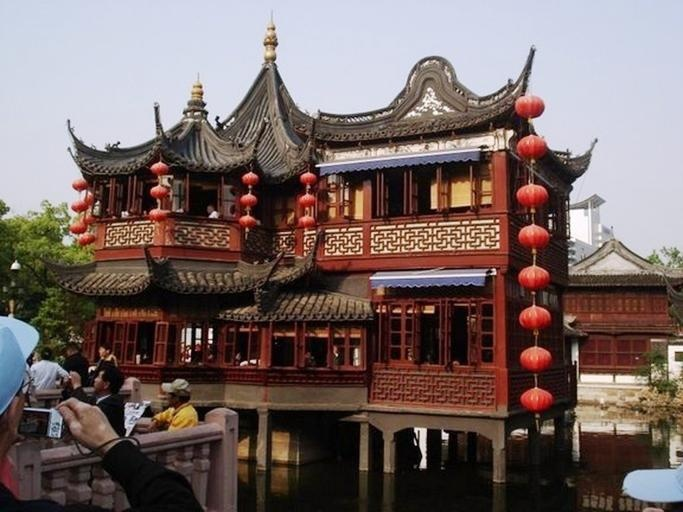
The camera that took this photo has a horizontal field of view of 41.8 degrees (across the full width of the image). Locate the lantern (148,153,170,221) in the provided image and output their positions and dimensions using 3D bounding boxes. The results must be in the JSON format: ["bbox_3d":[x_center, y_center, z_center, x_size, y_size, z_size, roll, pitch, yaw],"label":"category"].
[{"bbox_3d":[-4.706,-1.707,23.224,0.500,1.312,1.317,3,-1,-12],"label":"lantern"}]

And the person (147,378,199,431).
[{"bbox_3d":[-2.719,2.531,14.761,0.666,0.988,1.139,2,6,-20],"label":"person"}]

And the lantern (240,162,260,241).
[{"bbox_3d":[-2.434,-1.413,23.725,0.515,1.439,1.402,3,-1,-6],"label":"lantern"}]

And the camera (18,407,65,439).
[{"bbox_3d":[-3.449,1.919,10.257,0.477,0.269,0.483,5,-8,5],"label":"camera"}]
